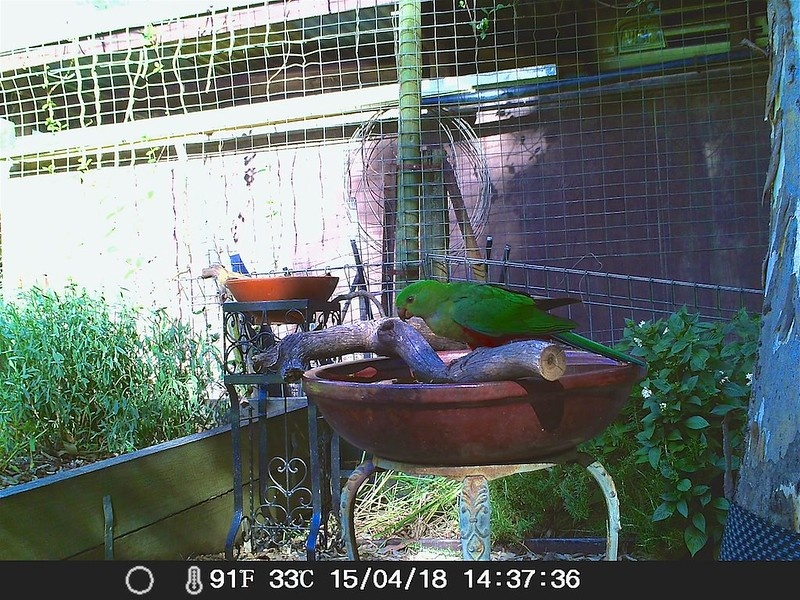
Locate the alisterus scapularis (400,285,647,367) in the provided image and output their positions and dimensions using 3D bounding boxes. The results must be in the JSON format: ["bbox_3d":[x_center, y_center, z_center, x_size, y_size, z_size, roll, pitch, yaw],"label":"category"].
[{"bbox_3d":[0.338,0.063,2.183,0.696,0.304,0.211,-6,1,-11],"label":"alisterus scapularis"}]

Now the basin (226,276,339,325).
[{"bbox_3d":[-0.384,-0.005,2.566,0.372,0.164,0.125,-7,13,-8],"label":"basin"}]
